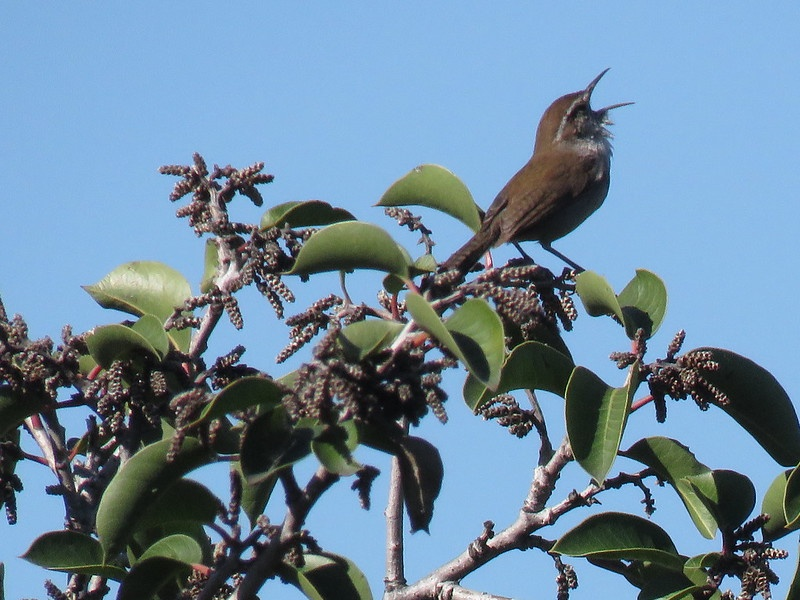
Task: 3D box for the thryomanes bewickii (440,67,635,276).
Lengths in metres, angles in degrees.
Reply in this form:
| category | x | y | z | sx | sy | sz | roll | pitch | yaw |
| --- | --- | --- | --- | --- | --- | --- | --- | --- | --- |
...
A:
| category | x | y | z | sx | sy | sz | roll | pitch | yaw |
| --- | --- | --- | --- | --- | --- | --- | --- | --- | --- |
| thryomanes bewickii | 0.973 | -0.818 | 9.598 | 0.934 | 1.656 | 0.331 | 22 | -39 | -21 |

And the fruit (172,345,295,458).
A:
| category | x | y | z | sx | sy | sz | roll | pitch | yaw |
| --- | --- | --- | --- | --- | --- | --- | --- | --- | --- |
| fruit | -0.655 | 0.408 | 5.700 | 0.320 | 0.514 | 0.223 | -22 | -87 | 36 |
